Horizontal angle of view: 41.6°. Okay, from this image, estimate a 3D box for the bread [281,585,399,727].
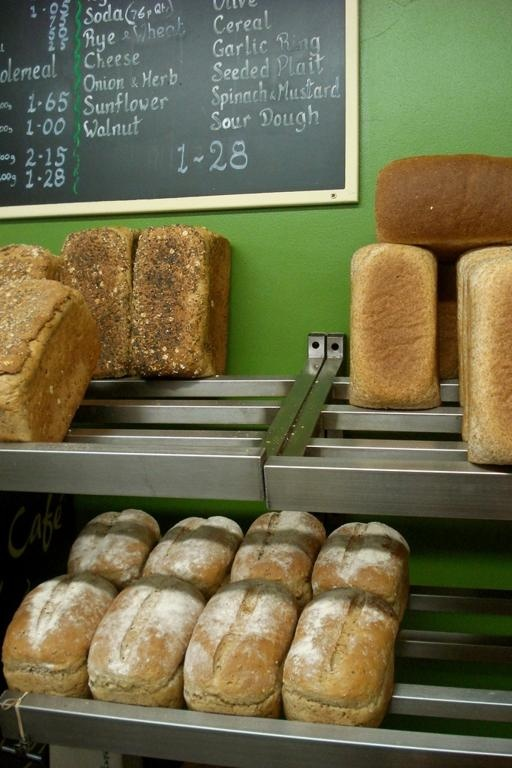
[{"bbox_3d":[0.111,0.360,0.879,0.115,0.078,0.206,5,33,10],"label":"bread"}]

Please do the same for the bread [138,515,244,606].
[{"bbox_3d":[-0.098,0.311,1.185,0.087,0.052,0.159,6,10,14],"label":"bread"}]

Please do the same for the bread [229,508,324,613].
[{"bbox_3d":[0.041,0.290,1.152,0.101,0.077,0.199,-3,17,12],"label":"bread"}]

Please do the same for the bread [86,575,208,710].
[{"bbox_3d":[-0.158,0.367,0.985,0.112,0.084,0.174,5,32,14],"label":"bread"}]

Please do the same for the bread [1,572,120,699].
[{"bbox_3d":[-0.295,0.372,1.036,0.120,0.099,0.195,5,10,6],"label":"bread"}]

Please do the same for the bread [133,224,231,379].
[{"bbox_3d":[-0.119,-0.171,1.421,0.160,0.317,0.304,5,14,36],"label":"bread"}]

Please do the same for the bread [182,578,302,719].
[{"bbox_3d":[-0.021,0.346,0.935,0.107,0.083,0.181,2,36,16],"label":"bread"}]

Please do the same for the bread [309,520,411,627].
[{"bbox_3d":[0.167,0.278,1.088,0.116,0.096,0.203,-1,20,14],"label":"bread"}]

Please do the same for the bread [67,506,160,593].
[{"bbox_3d":[-0.258,0.292,1.233,0.107,0.046,0.152,-1,19,10],"label":"bread"}]
